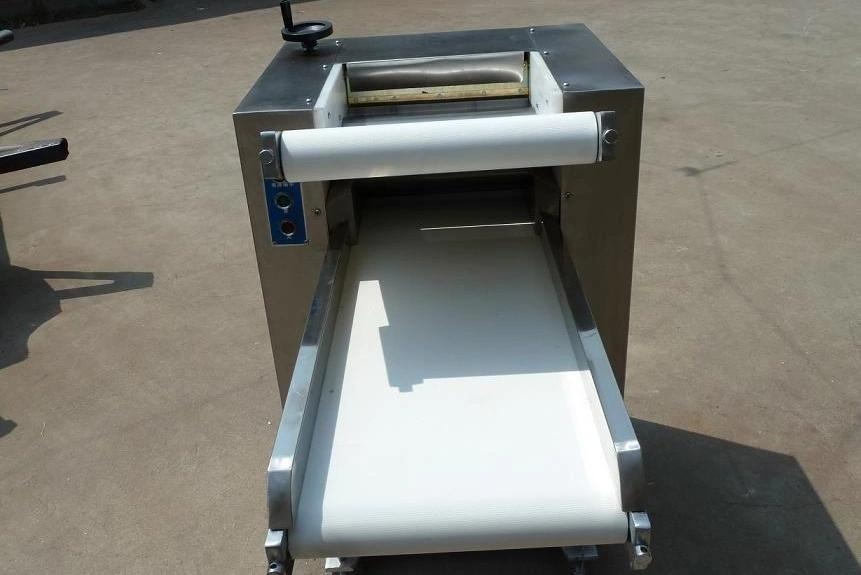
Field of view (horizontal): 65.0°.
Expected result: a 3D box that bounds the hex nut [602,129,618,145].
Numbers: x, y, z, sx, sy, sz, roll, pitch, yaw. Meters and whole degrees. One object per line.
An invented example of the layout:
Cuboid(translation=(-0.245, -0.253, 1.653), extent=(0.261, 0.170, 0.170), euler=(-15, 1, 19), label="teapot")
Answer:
Cuboid(translation=(0.482, -0.402, 1.800), extent=(0.046, 0.033, 0.027), euler=(-17, 40, -7), label="hex nut")

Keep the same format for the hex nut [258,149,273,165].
Cuboid(translation=(-0.438, -0.339, 1.762), extent=(0.036, 0.036, 0.009), euler=(1, 18, 1), label="hex nut")
